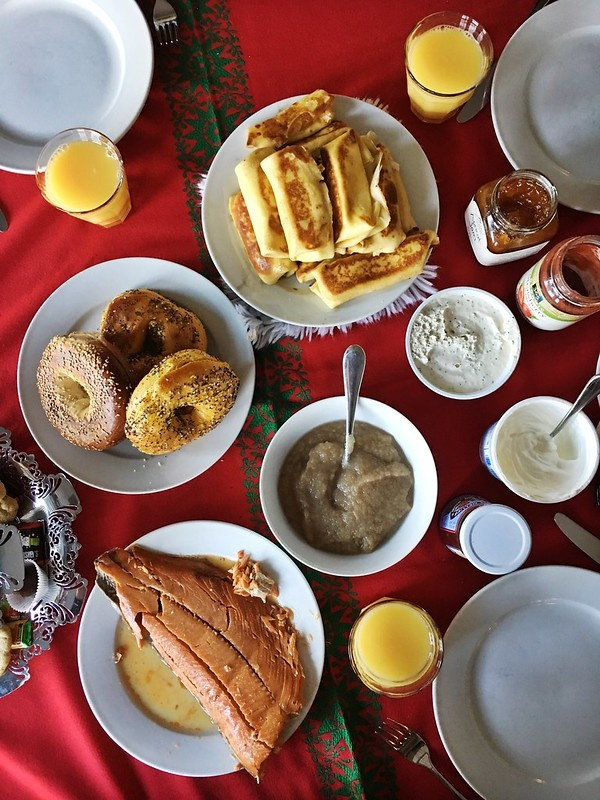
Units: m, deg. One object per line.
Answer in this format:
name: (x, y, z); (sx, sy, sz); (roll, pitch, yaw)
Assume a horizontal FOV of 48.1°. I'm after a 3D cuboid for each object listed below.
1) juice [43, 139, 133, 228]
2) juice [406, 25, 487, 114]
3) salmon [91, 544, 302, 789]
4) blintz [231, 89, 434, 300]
juice: (-0.508, -0.530, 1.648); (0.194, 0.188, 0.208); (-30, 54, -29)
juice: (0.322, -0.761, 1.590); (0.193, 0.159, 0.195); (3, 99, -2)
salmon: (-0.192, 0.539, 1.565); (0.309, 0.271, 0.569); (-40, 66, -12)
blintz: (0.086, -0.450, 1.616); (0.477, 0.163, 0.488); (-34, 95, -2)
